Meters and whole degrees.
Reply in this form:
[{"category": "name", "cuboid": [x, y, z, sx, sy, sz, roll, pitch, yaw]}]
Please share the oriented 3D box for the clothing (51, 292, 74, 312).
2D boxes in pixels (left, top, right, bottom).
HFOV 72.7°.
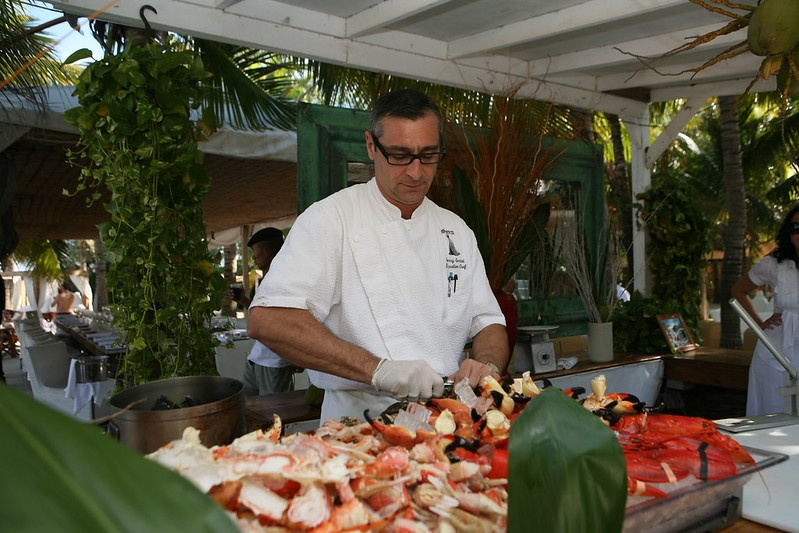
[{"category": "clothing", "cuboid": [-8.374, 0.889, 13.467, 0.456, 0.509, 0.338, 3, -7, -14]}]
